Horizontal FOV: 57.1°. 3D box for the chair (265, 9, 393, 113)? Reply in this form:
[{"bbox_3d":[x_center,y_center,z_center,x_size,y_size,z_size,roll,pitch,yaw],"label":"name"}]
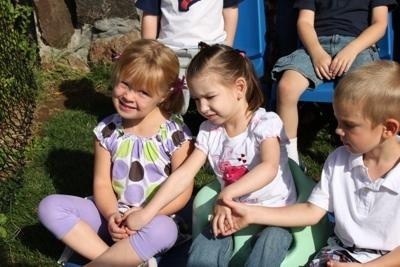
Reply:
[{"bbox_3d":[1.124,-0.603,3.339,0.677,1.153,0.914,0,-6,35],"label":"chair"}]
